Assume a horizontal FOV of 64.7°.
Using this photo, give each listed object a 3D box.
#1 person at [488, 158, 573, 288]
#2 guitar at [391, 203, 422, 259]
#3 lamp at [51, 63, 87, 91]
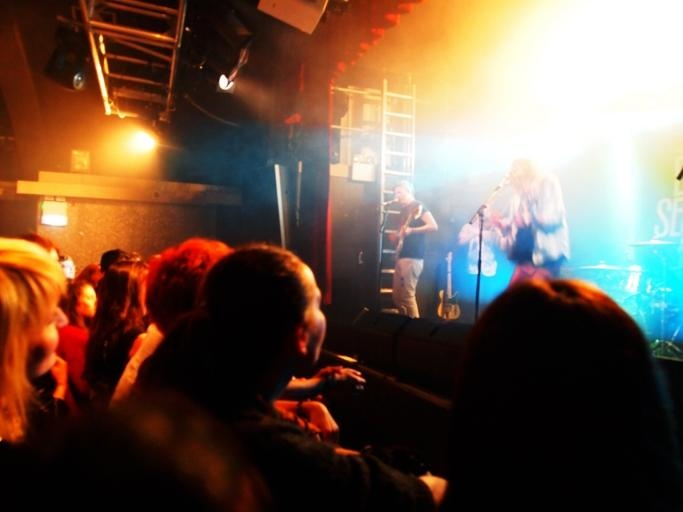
[{"bbox_3d":[1.419,-0.137,4.086,0.557,1.256,0.542,6,-10,-14],"label":"person"},{"bbox_3d":[0.684,-0.248,5.524,0.095,0.563,0.256,-3,14,-36],"label":"guitar"},{"bbox_3d":[-2.798,-1.808,5.555,0.389,0.295,0.199,-11,-4,-38],"label":"lamp"}]
